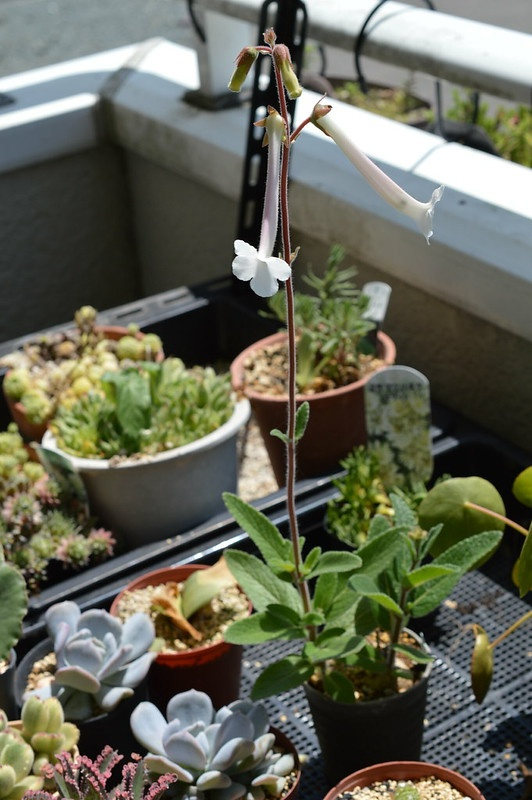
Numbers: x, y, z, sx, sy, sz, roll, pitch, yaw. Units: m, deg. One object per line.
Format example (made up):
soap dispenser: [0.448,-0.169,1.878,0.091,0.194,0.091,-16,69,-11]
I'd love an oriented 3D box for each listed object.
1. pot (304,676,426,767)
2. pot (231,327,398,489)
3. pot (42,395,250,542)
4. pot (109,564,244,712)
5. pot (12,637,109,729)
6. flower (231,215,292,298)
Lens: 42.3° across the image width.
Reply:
pot: [0.118,0.355,0.816,0.120,0.107,0.133,-6,22,-2]
pot: [0.106,0.070,1.446,0.333,0.250,0.329,-6,33,4]
pot: [-0.200,0.167,1.294,0.288,0.166,0.288,-15,27,8]
pot: [-0.123,0.342,0.957,0.184,0.146,0.197,-2,26,1]
pot: [-0.272,0.354,0.880,0.099,0.078,0.111,-4,30,-11]
flower: [0.002,-0.094,0.463,0.034,0.032,0.047,23,45,26]
